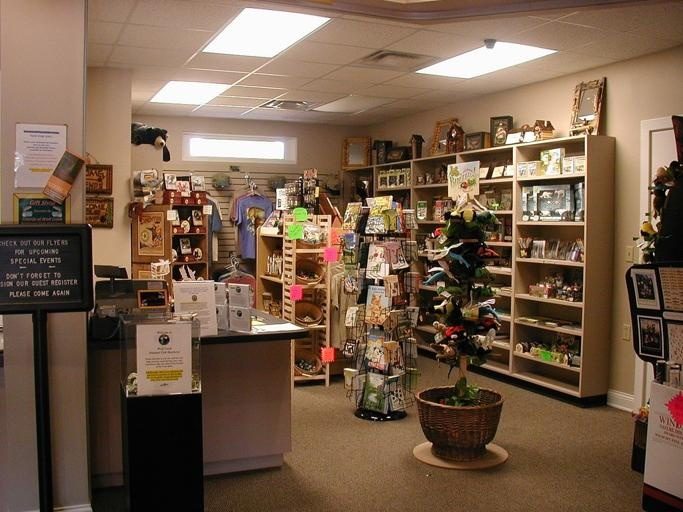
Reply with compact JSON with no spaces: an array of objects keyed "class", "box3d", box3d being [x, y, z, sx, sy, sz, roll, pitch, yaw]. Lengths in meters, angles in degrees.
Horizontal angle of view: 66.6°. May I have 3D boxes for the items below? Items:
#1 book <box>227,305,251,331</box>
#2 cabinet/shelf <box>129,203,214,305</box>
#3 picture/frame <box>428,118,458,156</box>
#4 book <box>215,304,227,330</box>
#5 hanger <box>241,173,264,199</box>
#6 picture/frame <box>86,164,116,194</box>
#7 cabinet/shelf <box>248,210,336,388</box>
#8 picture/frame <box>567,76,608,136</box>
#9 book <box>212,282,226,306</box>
[{"class":"book","box3d":[-0.805,0.485,4.094,0.182,0.176,0.039,7,11,30]},{"class":"cabinet/shelf","box3d":[-2.447,-0.234,7.487,0.779,1.239,1.757,1,4,7]},{"class":"picture/frame","box3d":[1.502,-1.693,7.696,0.124,0.622,0.529,8,9,-26]},{"class":"book","box3d":[-0.957,0.484,4.106,0.103,0.192,0.196,-2,7,-23]},{"class":"hanger","box3d":[-1.634,-1.267,9.389,0.330,0.435,1.015,-4,10,-8]},{"class":"picture/frame","box3d":[-3.030,-0.965,6.504,0.297,0.389,0.167,-1,4,-24]},{"class":"cabinet/shelf","box3d":[-0.529,0.500,5.999,0.671,2.503,2.105,2,1,-22]},{"class":"picture/frame","box3d":[2.808,-1.715,5.963,0.328,0.668,0.279,4,5,43]},{"class":"book","box3d":[-0.962,0.298,4.118,0.097,0.185,0.101,0,4,-13]}]
